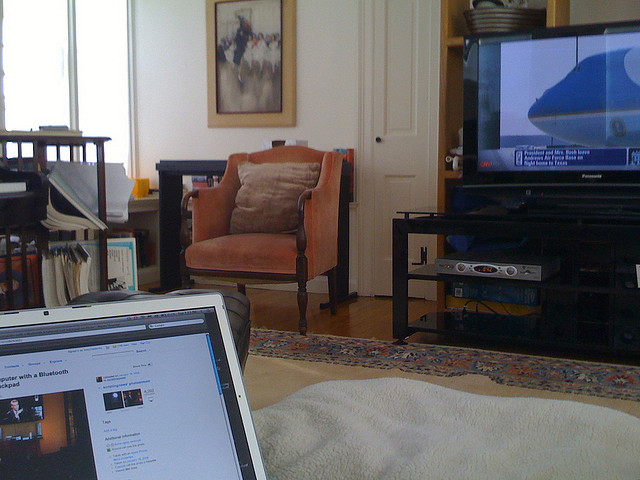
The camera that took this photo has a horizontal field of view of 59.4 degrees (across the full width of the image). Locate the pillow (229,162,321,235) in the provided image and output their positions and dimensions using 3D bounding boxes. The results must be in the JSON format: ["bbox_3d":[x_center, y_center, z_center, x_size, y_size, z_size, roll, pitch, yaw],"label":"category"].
[{"bbox_3d":[-0.277,-0.266,3.603,0.591,0.498,0.276,6,16,27],"label":"pillow"}]

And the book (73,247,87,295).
[{"bbox_3d":[-1.179,0.170,2.792,0.055,0.176,0.130,2,-1,-28],"label":"book"}]

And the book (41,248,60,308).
[{"bbox_3d":[-1.282,0.188,2.667,0.064,0.273,0.268,-1,1,-11],"label":"book"}]

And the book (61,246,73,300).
[{"bbox_3d":[-1.251,0.167,2.755,0.042,0.261,0.010,-5,4,-23],"label":"book"}]

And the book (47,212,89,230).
[{"bbox_3d":[-1.239,-0.089,2.768,0.185,0.074,0.045,-2,6,-34],"label":"book"}]

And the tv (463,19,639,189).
[{"bbox_3d":[1.201,-0.685,2.869,0.921,0.663,0.038,1,5,25],"label":"tv"}]

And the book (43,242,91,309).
[{"bbox_3d":[-1.140,0.163,2.512,0.108,0.304,0.230,2,3,41],"label":"book"}]

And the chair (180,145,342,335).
[{"bbox_3d":[-0.294,-0.064,3.717,1.011,1.386,1.137,2,4,23],"label":"chair"}]

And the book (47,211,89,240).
[{"bbox_3d":[-1.286,-0.076,2.869,0.115,0.155,0.089,-11,21,-29],"label":"book"}]

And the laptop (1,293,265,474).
[{"bbox_3d":[-0.222,0.163,0.675,0.296,0.212,0.195,0,13,-15],"label":"laptop"}]
